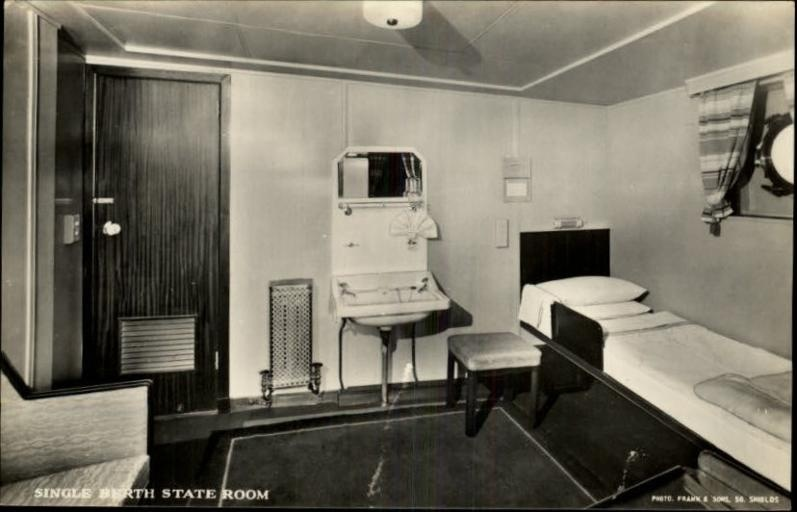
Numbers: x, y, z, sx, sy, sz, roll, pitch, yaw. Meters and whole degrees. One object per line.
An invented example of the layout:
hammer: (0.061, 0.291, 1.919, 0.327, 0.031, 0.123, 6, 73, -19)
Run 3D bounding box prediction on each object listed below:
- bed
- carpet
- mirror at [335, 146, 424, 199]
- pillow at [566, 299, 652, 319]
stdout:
bed: (1.254, 0.373, 3.417, 0.988, 1.040, 1.602, -7, 25, -16)
carpet: (-0.037, 1.075, 3.150, 1.932, 0.513, 0.185, -4, 8, 1)
mirror: (-0.097, -0.431, 3.150, 0.448, 0.257, 0.031, -5, 8, -6)
pillow: (1.138, 0.291, 3.322, 0.288, 0.109, 0.036, -3, 7, 3)
